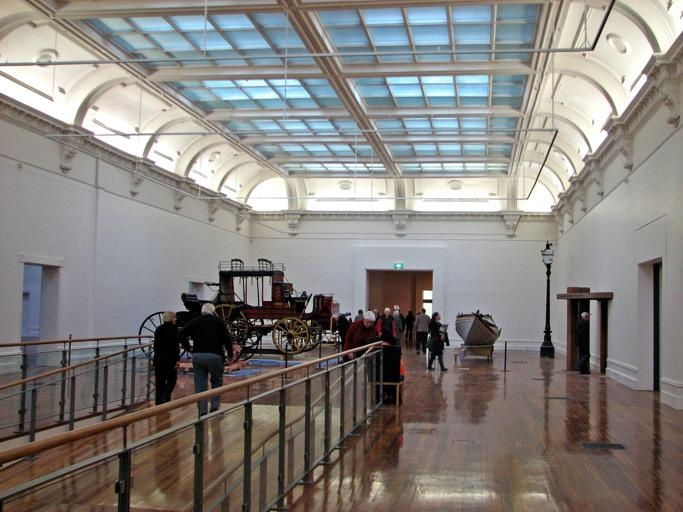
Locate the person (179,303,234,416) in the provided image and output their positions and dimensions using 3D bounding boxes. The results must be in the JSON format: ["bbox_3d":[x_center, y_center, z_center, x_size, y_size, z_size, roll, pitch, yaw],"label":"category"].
[{"bbox_3d":[-2.563,1.709,9.115,0.939,1.672,0.999,5,-4,-19],"label":"person"}]

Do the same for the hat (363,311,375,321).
[{"bbox_3d":[0.543,1.100,9.485,0.230,0.279,0.300,1,-15,-3],"label":"hat"}]

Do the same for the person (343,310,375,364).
[{"bbox_3d":[0.356,1.534,9.471,0.611,0.961,1.647,3,-4,4],"label":"person"}]

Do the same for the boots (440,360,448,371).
[{"bbox_3d":[3.431,3.541,16.299,0.246,0.409,1.274,3,-4,13],"label":"boots"}]

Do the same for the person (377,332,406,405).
[{"bbox_3d":[1.204,2.402,10.011,0.508,0.946,0.500,-25,-25,21],"label":"person"}]

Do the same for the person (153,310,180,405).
[{"bbox_3d":[-3.554,2.034,9.789,0.485,1.896,0.785,5,-4,-20],"label":"person"}]

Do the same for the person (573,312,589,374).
[{"bbox_3d":[7.856,2.757,15.815,0.390,1.932,0.635,3,-4,11],"label":"person"}]
